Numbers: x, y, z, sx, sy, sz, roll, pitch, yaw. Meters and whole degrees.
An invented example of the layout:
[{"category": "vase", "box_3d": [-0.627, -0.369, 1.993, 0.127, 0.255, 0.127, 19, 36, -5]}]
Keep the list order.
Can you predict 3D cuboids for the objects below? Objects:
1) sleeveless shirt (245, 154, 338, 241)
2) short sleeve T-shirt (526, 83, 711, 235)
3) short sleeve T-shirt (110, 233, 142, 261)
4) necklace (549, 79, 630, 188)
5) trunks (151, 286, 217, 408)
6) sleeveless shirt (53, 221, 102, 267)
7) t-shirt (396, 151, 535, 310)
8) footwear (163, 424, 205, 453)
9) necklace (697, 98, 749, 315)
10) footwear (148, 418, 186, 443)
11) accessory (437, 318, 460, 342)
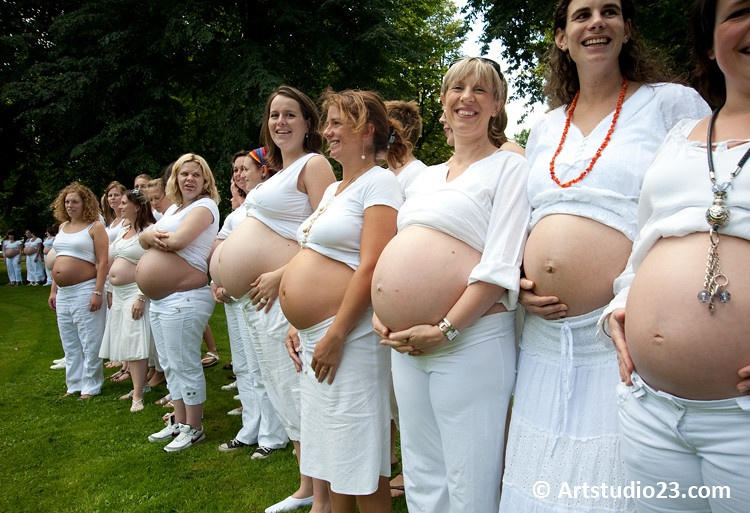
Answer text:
[{"category": "sleeveless shirt", "box_3d": [-0.883, -0.346, 5.811, 0.605, 0.997, 1.027, 13, -6, -24]}, {"category": "short sleeve T-shirt", "box_3d": [1.511, -0.616, 4.299, 1.199, 1.158, 0.656, 4, -5, 33]}, {"category": "short sleeve T-shirt", "box_3d": [-3.139, -0.107, 8.023, 0.343, 0.312, 0.195, -1, -14, 44]}, {"category": "necklace", "box_3d": [1.391, -0.747, 4.121, 0.103, 0.992, 0.340, 22, -12, -40]}, {"category": "trunks", "box_3d": [-2.121, 1.010, 6.915, 0.559, 1.386, 0.776, -1, 0, -40]}, {"category": "sleeveless shirt", "box_3d": [-4.183, -0.213, 8.847, 0.670, 0.653, 0.408, -2, -13, 4]}, {"category": "t-shirt", "box_3d": [0.638, -0.134, 4.259, 0.511, 0.893, 0.897, 17, -17, -36]}, {"category": "footwear", "box_3d": [-2.022, 1.896, 6.704, 0.222, 0.214, 0.440, 3, 12, 37]}, {"category": "necklace", "box_3d": [1.899, -0.180, 3.443, 0.204, 0.928, 0.369, 2, 11, 33]}, {"category": "footwear", "box_3d": [-2.233, 1.914, 6.970, 0.524, 0.249, 0.185, 5, -6, -34]}, {"category": "accessory", "box_3d": [0.476, 0.482, 4.132, 0.110, 0.151, 0.049, -38, 2, 10]}]
